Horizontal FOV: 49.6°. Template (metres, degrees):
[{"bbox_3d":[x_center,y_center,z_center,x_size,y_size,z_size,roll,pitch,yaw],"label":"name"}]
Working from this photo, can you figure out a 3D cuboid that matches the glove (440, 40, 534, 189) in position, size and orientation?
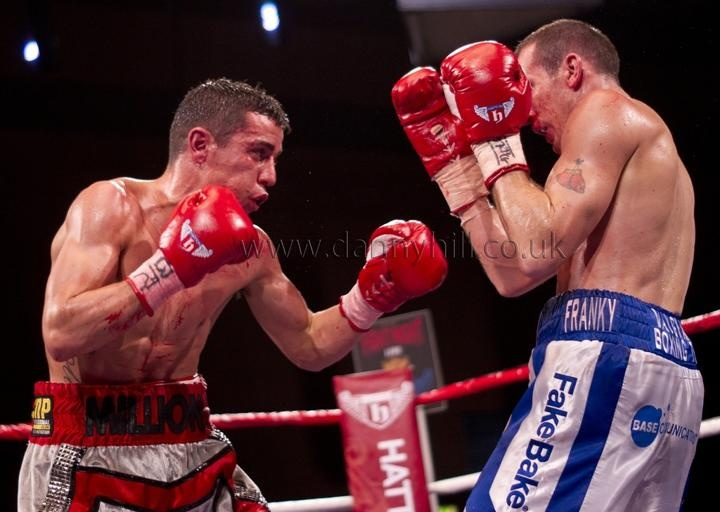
[{"bbox_3d":[0.542,-0.594,3.151,0.402,0.553,0.233,-11,12,13],"label":"glove"}]

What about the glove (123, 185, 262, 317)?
[{"bbox_3d":[-0.710,0.014,3.203,0.548,0.208,0.341,-37,49,-18],"label":"glove"}]
